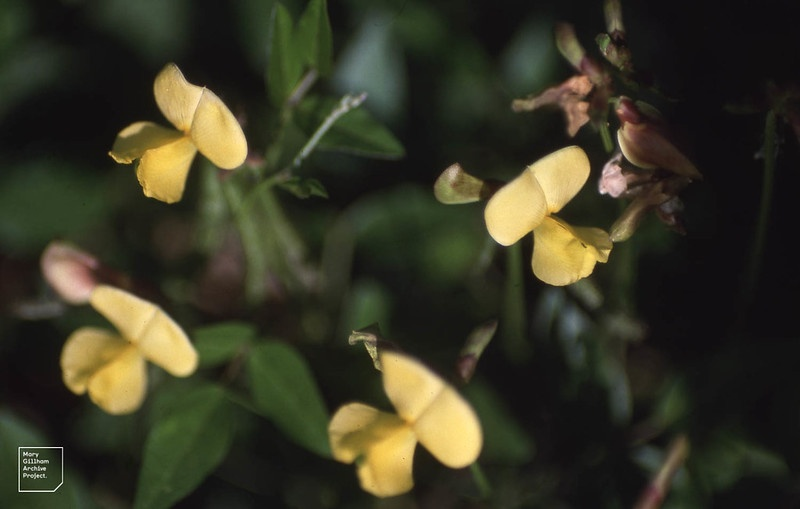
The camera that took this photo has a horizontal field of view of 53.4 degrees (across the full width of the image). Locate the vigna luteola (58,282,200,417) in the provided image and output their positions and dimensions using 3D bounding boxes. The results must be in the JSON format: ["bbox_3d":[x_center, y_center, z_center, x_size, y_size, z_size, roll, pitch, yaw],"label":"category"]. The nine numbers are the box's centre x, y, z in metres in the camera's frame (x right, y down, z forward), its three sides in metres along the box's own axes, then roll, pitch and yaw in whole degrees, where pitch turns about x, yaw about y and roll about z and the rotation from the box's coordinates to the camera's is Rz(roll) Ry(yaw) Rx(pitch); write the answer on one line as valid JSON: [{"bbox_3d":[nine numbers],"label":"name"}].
[{"bbox_3d":[-0.393,0.122,1.127,0.170,0.178,0.042,-31,17,-8],"label":"vigna luteola"}]

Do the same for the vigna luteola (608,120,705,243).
[{"bbox_3d":[0.359,-0.112,1.162,0.153,0.166,0.055,-12,18,-21],"label":"vigna luteola"}]

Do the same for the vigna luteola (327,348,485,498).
[{"bbox_3d":[0.014,0.230,1.116,0.199,0.192,0.058,-38,22,24],"label":"vigna luteola"}]

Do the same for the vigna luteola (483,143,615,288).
[{"bbox_3d":[0.204,-0.058,1.175,0.179,0.189,0.089,-42,10,-5],"label":"vigna luteola"}]

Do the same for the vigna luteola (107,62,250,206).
[{"bbox_3d":[-0.303,-0.168,1.115,0.190,0.074,0.184,-29,-18,-46],"label":"vigna luteola"}]
